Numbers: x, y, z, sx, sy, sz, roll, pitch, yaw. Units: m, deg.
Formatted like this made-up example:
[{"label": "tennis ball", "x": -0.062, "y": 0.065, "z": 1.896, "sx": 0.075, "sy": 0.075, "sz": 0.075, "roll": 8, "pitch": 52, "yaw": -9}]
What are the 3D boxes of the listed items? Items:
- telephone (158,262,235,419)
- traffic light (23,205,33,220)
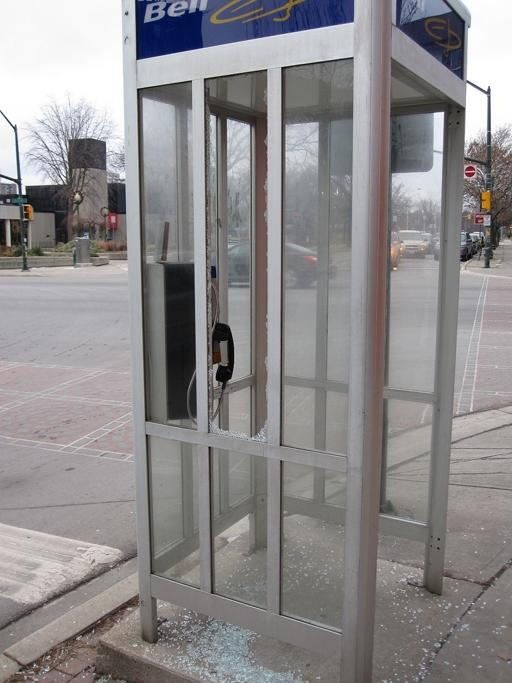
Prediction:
[{"label": "telephone", "x": -0.211, "y": -0.012, "z": 2.523, "sx": 0.179, "sy": 0.635, "sz": 0.379, "roll": 4, "pitch": 9, "yaw": 35}, {"label": "traffic light", "x": -11.346, "y": -6.397, "z": 30.024, "sx": 0.363, "sy": 0.775, "sz": 1.316, "roll": -4, "pitch": 10, "yaw": -22}]
